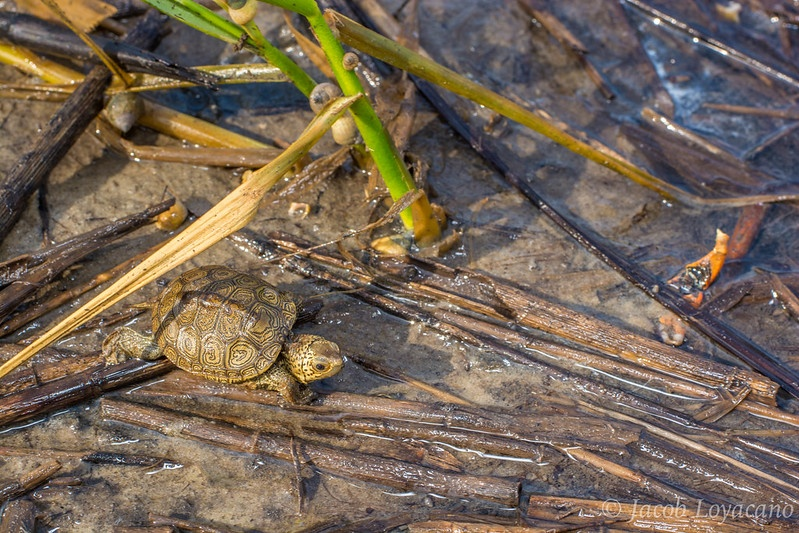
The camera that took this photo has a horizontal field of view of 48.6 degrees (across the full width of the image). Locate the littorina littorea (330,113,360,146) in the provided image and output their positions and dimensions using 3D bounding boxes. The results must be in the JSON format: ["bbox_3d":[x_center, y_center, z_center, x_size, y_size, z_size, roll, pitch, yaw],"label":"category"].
[{"bbox_3d":[-0.463,-1.193,7.652,0.179,0.246,0.247,1,-7,-2],"label":"littorina littorea"}]

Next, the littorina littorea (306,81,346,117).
[{"bbox_3d":[-0.601,-1.371,7.310,0.256,0.135,0.290,6,53,29],"label":"littorina littorea"}]

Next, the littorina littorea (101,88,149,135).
[{"bbox_3d":[-2.617,-1.493,8.419,0.360,0.376,0.208,38,-6,-30],"label":"littorina littorea"}]
